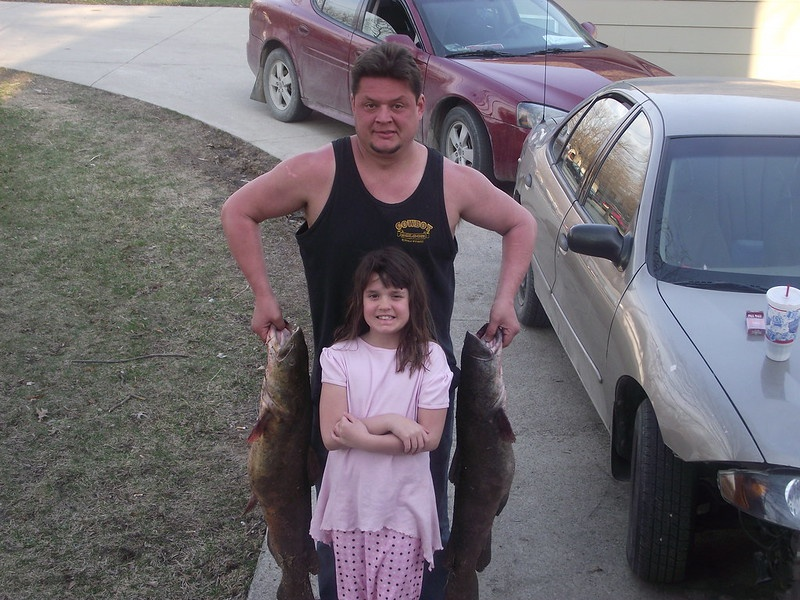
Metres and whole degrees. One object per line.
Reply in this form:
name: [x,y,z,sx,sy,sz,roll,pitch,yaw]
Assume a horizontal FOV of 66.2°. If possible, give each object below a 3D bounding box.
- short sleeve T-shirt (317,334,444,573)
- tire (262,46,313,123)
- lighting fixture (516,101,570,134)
short sleeve T-shirt: [-0.073,0.588,2.329,0.495,0.804,0.442,4,27,11]
tire: [-1.509,-2.958,8.298,0.211,0.663,0.700,-4,59,-49]
lighting fixture: [1.384,-1.858,5.983,0.274,0.155,0.462,-7,32,-20]
